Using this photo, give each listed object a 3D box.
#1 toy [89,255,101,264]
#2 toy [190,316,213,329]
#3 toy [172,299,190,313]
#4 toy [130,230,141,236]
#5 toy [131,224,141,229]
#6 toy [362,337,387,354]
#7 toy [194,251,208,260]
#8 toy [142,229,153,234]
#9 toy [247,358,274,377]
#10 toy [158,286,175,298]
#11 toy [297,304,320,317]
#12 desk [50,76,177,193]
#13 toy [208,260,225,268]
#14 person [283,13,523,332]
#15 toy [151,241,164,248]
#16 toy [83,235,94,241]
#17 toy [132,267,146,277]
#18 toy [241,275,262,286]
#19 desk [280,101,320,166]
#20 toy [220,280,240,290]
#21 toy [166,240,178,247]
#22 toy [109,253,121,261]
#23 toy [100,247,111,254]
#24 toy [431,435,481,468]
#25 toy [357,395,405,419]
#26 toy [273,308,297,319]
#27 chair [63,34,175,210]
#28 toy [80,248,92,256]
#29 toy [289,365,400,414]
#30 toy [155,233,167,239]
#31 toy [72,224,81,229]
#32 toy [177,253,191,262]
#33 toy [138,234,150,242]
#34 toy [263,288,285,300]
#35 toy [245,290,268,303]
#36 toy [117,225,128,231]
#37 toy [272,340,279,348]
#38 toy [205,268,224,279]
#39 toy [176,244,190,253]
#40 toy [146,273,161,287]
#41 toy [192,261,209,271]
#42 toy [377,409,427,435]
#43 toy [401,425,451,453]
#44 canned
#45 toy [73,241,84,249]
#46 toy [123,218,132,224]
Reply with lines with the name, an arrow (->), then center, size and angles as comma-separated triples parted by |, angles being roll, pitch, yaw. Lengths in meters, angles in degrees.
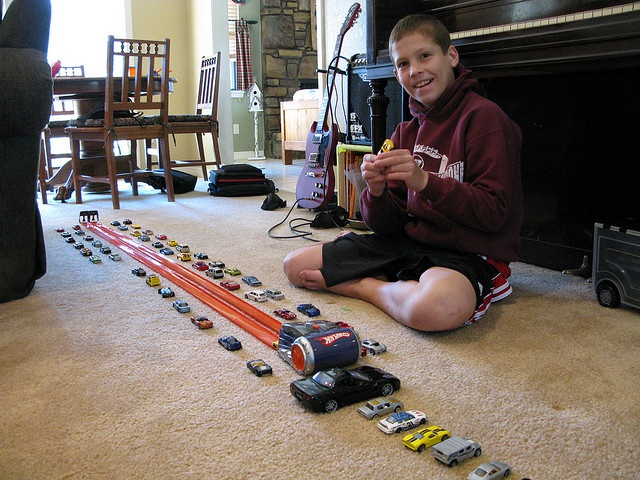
toy -> -0.961, 0.075, 1.908 | 0.035, 0.019, 0.060 | -10, 20, -29
toy -> -0.336, 0.238, 1.283 | 0.028, 0.017, 0.059 | -14, 18, -31
toy -> -0.428, 0.202, 1.398 | 0.027, 0.020, 0.059 | -8, 23, -29
toy -> -0.990, -0.045, 2.410 | 0.037, 0.020, 0.059 | -10, 22, -34
toy -> -1.043, -0.080, 2.532 | 0.028, 0.012, 0.044 | -10, 20, -29
toy -> 0.141, 0.271, 1.142 | 0.062, 0.023, 0.069 | 0, 13, 7
toy -> -0.521, 0.064, 1.937 | 0.030, 0.016, 0.049 | -11, 27, -33
toy -> -0.918, -0.044, 2.378 | 0.030, 0.013, 0.046 | -7, 17, -32
toy -> -0.142, 0.303, 1.056 | 0.041, 0.019, 0.065 | -11, 16, -37
toy -> -0.519, 0.175, 1.533 | 0.031, 0.014, 0.048 | -9, 20, -32
toy -> -0.033, 0.215, 1.358 | 0.062, 0.019, 0.079 | -6, 13, -17
desk -> -1.812, -0.883, 3.693 | 1.082, 1.027, 1.030 | -7, 15, -26
toy -> -0.415, 0.093, 1.797 | 0.029, 0.014, 0.049 | -10, 22, -29
person -> 0.280, -0.249, 1.402 | 0.492, 0.904, 0.581 | -13, 17, -42
toy -> -0.782, 0.018, 2.166 | 0.032, 0.015, 0.049 | -10, 17, -36
toy -> -1.165, -0.013, 2.256 | 0.027, 0.013, 0.043 | -10, 18, -37
toy -> -0.698, 0.120, 1.728 | 0.031, 0.019, 0.050 | -5, 15, -31
toy -> -0.250, 0.143, 1.618 | 0.033, 0.019, 0.062 | -9, 18, -31
desk -> -0.124, -1.349, 5.489 | 0.287, 0.719, 0.783 | -15, 19, -39
toy -> -0.314, 0.154, 1.578 | 0.031, 0.014, 0.051 | -9, 19, -36
toy -> -0.712, 0.009, 2.166 | 0.035, 0.018, 0.053 | -11, 21, -31
toy -> -0.895, 0.066, 1.945 | 0.033, 0.025, 0.053 | -14, 26, -38
toy -> -0.975, 0.042, 2.035 | 0.033, 0.016, 0.050 | -7, 13, -30
toy -> 0.236, 0.367, 0.775 | 0.064, 0.023, 0.041 | -18, 26, -25
toy -> 0.125, 0.336, 0.894 | 0.072, 0.021, 0.037 | -14, 25, -20
toy -> -0.101, 0.213, 1.330 | 0.029, 0.013, 0.049 | -10, 21, -35
chair -> -1.548, -0.920, 3.484 | 0.729, 1.186, 0.667 | 8, 16, 24
toy -> -1.059, 0.045, 2.027 | 0.043, 0.018, 0.060 | -9, 19, -33
toy -> 0.059, 0.283, 0.940 | 0.178, 0.052, 0.095 | -12, 21, -22
toy -> -0.815, -0.025, 2.302 | 0.034, 0.017, 0.056 | -12, 23, -35
toy -> -1.368, -0.070, 2.512 | 0.027, 0.012, 0.052 | -3, 18, -19
toy -> -0.576, 0.069, 1.923 | 0.036, 0.017, 0.051 | -7, 19, -28
toy -> -0.893, -0.014, 2.276 | 0.032, 0.015, 0.049 | -12, 23, -34
toy -> -0.144, 0.175, 1.472 | 0.028, 0.016, 0.055 | -6, 20, -26
toy -> -0.204, 0.183, 1.447 | 0.035, 0.024, 0.061 | -12, 28, -38
toy -> -1.118, -0.074, 2.537 | 0.032, 0.016, 0.052 | -11, 21, -35
toy -> -0.113, 0.268, 1.147 | 0.016, 0.013, 0.023 | 1, 18, -3
toy -> -0.397, 0.118, 1.691 | 0.036, 0.028, 0.058 | -13, 27, -39
toy -> -0.620, 0.039, 2.034 | 0.038, 0.028, 0.062 | -10, 24, -34
toy -> -0.605, 0.145, 1.624 | 0.033, 0.029, 0.057 | -8, 17, -29
toy -> -0.482, 0.105, 1.812 | 0.034, 0.020, 0.065 | -5, 8, -29
toy -> 0.161, 0.348, 0.855 | 0.076, 0.020, 0.038 | -14, 23, -16
toy -> 0.187, 0.355, 0.814 | 0.068, 0.018, 0.036 | -16, 21, -22
canned -> 0.018, 0.264, 1.059 | 0.169, 0.089, 0.092 | -3, 10, -29
toy -> -1.165, 0.021, 2.153 | 0.035, 0.016, 0.049 | -5, 16, -21
toy -> -1.127, -0.110, 2.611 | 0.031, 0.015, 0.053 | -10, 17, -31
